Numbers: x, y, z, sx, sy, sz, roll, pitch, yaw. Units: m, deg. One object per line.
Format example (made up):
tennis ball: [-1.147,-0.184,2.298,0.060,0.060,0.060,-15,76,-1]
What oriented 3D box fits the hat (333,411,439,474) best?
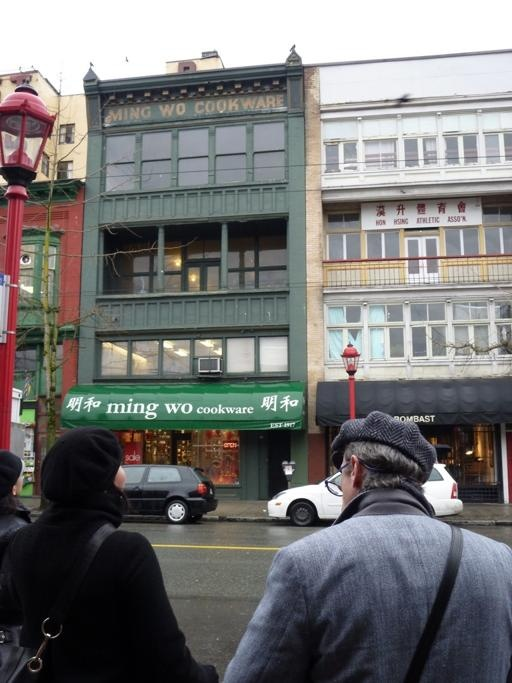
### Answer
hat: [0.373,0.279,2.405,0.208,0.103,0.245,23,-19,-5]

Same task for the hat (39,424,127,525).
hat: [-0.524,0.442,2.634,0.311,0.293,0.315,1,-7,-6]
